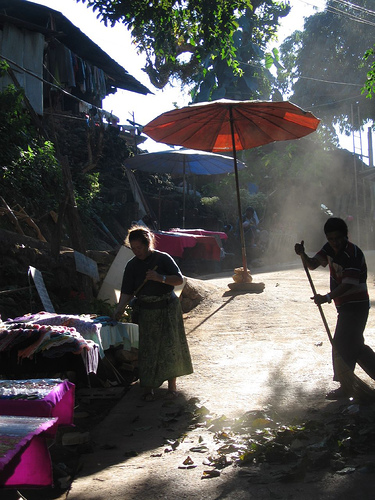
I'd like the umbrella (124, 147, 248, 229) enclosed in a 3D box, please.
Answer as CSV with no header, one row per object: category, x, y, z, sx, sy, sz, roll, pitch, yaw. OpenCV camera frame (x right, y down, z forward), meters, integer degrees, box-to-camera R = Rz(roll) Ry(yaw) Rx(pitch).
umbrella,-0.226,-1.943,13.721,3.072,1.803,3.189,3,2,17

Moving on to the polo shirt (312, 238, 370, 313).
polo shirt,1.290,0.187,3.932,0.436,0.599,0.443,5,11,30

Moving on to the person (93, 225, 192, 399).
person,-0.495,0.601,4.980,0.727,1.348,1.757,-10,3,-11

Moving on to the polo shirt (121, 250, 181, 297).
polo shirt,-0.343,0.246,4.373,0.620,0.422,0.311,-2,15,20

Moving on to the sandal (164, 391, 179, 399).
sandal,-0.150,1.309,4.223,0.118,0.056,0.072,-8,2,-10

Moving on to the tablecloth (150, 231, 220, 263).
tablecloth,-0.020,-0.089,11.886,1.938,0.765,1.888,6,11,2
